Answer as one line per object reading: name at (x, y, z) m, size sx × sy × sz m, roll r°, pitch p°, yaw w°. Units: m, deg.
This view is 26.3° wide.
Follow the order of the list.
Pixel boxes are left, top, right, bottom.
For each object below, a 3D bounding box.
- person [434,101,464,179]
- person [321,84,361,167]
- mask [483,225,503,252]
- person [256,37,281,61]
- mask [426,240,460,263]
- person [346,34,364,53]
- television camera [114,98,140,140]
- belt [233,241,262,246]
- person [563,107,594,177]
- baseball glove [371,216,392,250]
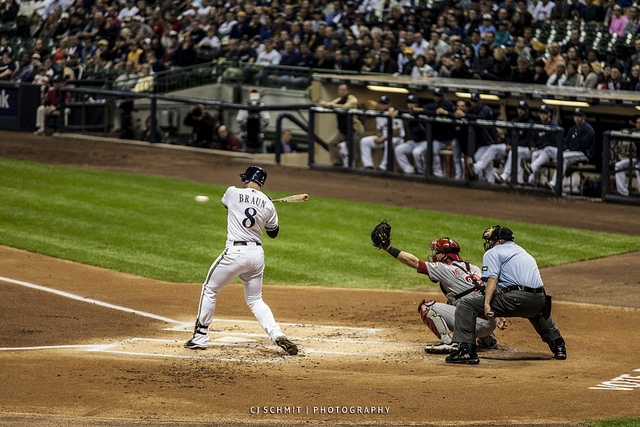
person at (3.077, -1.833, 32.721) m, size 0.712 × 1.852 × 0.655 m, roll 1°, pitch 3°, yaw 8°
person at (0.585, -2.255, 34.077) m, size 0.601 × 2.097 × 0.926 m, roll -1°, pitch 4°, yaw -45°
mask at (3.035, 0.391, 24.295) m, size 0.447 × 0.408 × 0.373 m, roll 1°, pitch 3°, yaw 18°
person at (-1.419, -4.548, 37.250) m, size 0.788 × 0.656 × 0.371 m, roll 2°, pitch 3°, yaw 13°
mask at (2.136, 0.634, 24.491) m, size 0.422 × 0.543 × 0.423 m, roll -12°, pitch 1°, yaw -31°
person at (0.889, -4.578, 36.103) m, size 0.322 × 0.530 × 0.702 m, roll 0°, pitch 2°, yaw -16°
television camera at (-5.038, -2.493, 35.305) m, size 0.685 × 1.035 × 0.231 m, roll 2°, pitch 3°, yaw 24°
belt at (-1.320, 0.510, 24.149) m, size 0.483 × 0.079 × 0.067 m, roll 0°, pitch 2°, yaw -16°
person at (5.921, -1.687, 31.364) m, size 0.699 × 1.564 × 0.439 m, roll 2°, pitch 3°, yaw 17°
baseball glove at (1.129, 0.246, 24.248) m, size 0.457 × 0.275 × 0.585 m, roll -20°, pitch 26°, yaw 9°
